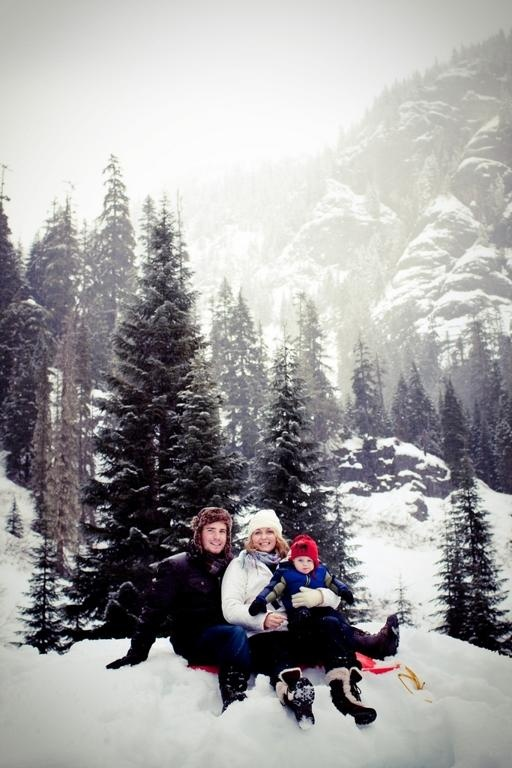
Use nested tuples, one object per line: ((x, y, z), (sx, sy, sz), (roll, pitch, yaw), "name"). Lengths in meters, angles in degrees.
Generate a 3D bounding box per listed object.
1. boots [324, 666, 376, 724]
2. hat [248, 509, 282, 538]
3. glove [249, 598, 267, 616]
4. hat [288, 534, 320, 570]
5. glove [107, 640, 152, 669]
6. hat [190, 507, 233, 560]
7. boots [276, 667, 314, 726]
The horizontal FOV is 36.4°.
((1.124, 3.647, 9.155), (0.471, 0.519, 0.616), (-2, 15, -22), "boots")
((0.119, 1.919, 10.915), (0.386, 0.395, 0.424), (-5, -38, 11), "hat")
((0.021, 2.745, 9.588), (0.186, 0.182, 0.158), (-16, -57, 47), "glove")
((0.640, 2.235, 10.454), (0.316, 0.399, 0.461), (2, -21, 1), "hat")
((-1.515, 3.310, 9.504), (0.609, 0.442, 0.225), (3, -21, -14), "glove")
((-0.584, 1.983, 10.260), (0.430, 0.574, 0.482), (-10, -39, 35), "hat")
((0.506, 3.547, 8.916), (0.381, 0.714, 0.265), (-9, -3, -4), "boots")
